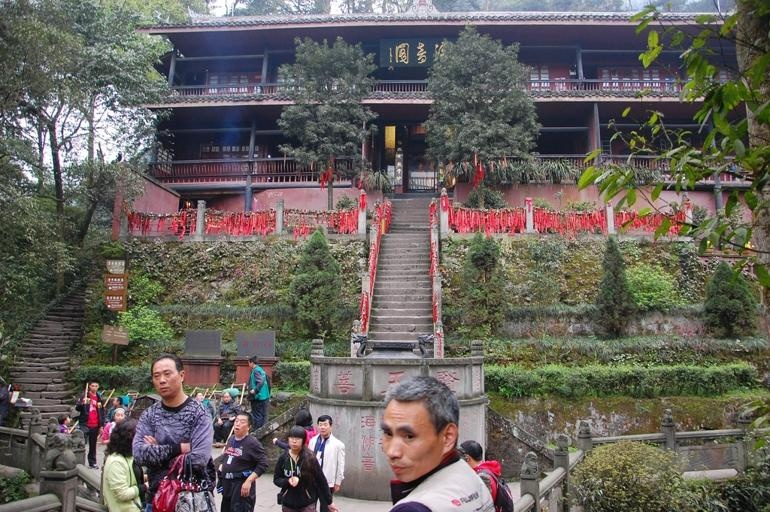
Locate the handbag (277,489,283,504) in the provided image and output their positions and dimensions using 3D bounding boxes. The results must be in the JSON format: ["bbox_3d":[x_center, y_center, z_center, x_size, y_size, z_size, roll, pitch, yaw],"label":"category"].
[{"bbox_3d":[-1.975,4.558,13.872,0.067,0.275,0.208,4,-5,-43],"label":"handbag"}]
